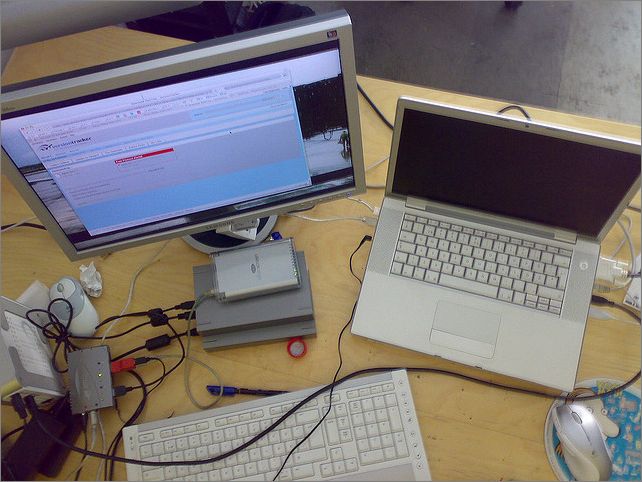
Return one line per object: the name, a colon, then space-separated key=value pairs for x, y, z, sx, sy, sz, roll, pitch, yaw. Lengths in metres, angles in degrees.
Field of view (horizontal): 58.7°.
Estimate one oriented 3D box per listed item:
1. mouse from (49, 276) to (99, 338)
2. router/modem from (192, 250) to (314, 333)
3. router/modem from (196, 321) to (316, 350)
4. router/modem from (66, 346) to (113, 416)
mouse: x=-0.587 y=0.166 z=1.394 sx=0.091 sy=0.156 sz=0.050 roll=-36 pitch=22 yaw=-12
router/modem: x=-0.163 y=0.129 z=1.353 sx=0.273 sy=0.100 sz=0.145 roll=-8 pitch=49 yaw=-5
router/modem: x=-0.147 y=0.217 z=1.364 sx=0.284 sy=0.042 sz=0.052 roll=-5 pitch=88 yaw=12
router/modem: x=-0.531 y=0.322 z=1.316 sx=0.095 sy=0.079 sz=0.135 roll=-11 pitch=49 yaw=-8
